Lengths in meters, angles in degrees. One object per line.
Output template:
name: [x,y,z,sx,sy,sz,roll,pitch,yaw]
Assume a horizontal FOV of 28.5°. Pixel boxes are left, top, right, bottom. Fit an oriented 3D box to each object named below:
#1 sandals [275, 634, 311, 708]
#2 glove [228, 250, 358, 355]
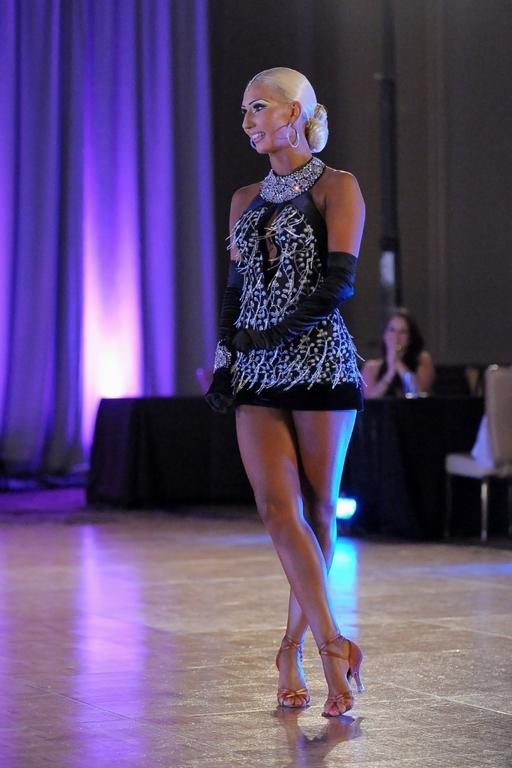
sandals: [0.064,0.498,1.734,0.042,0.055,0.132,-1,10,-1]
glove: [0.064,-0.136,1.665,0.200,0.163,0.058,0,1,-1]
